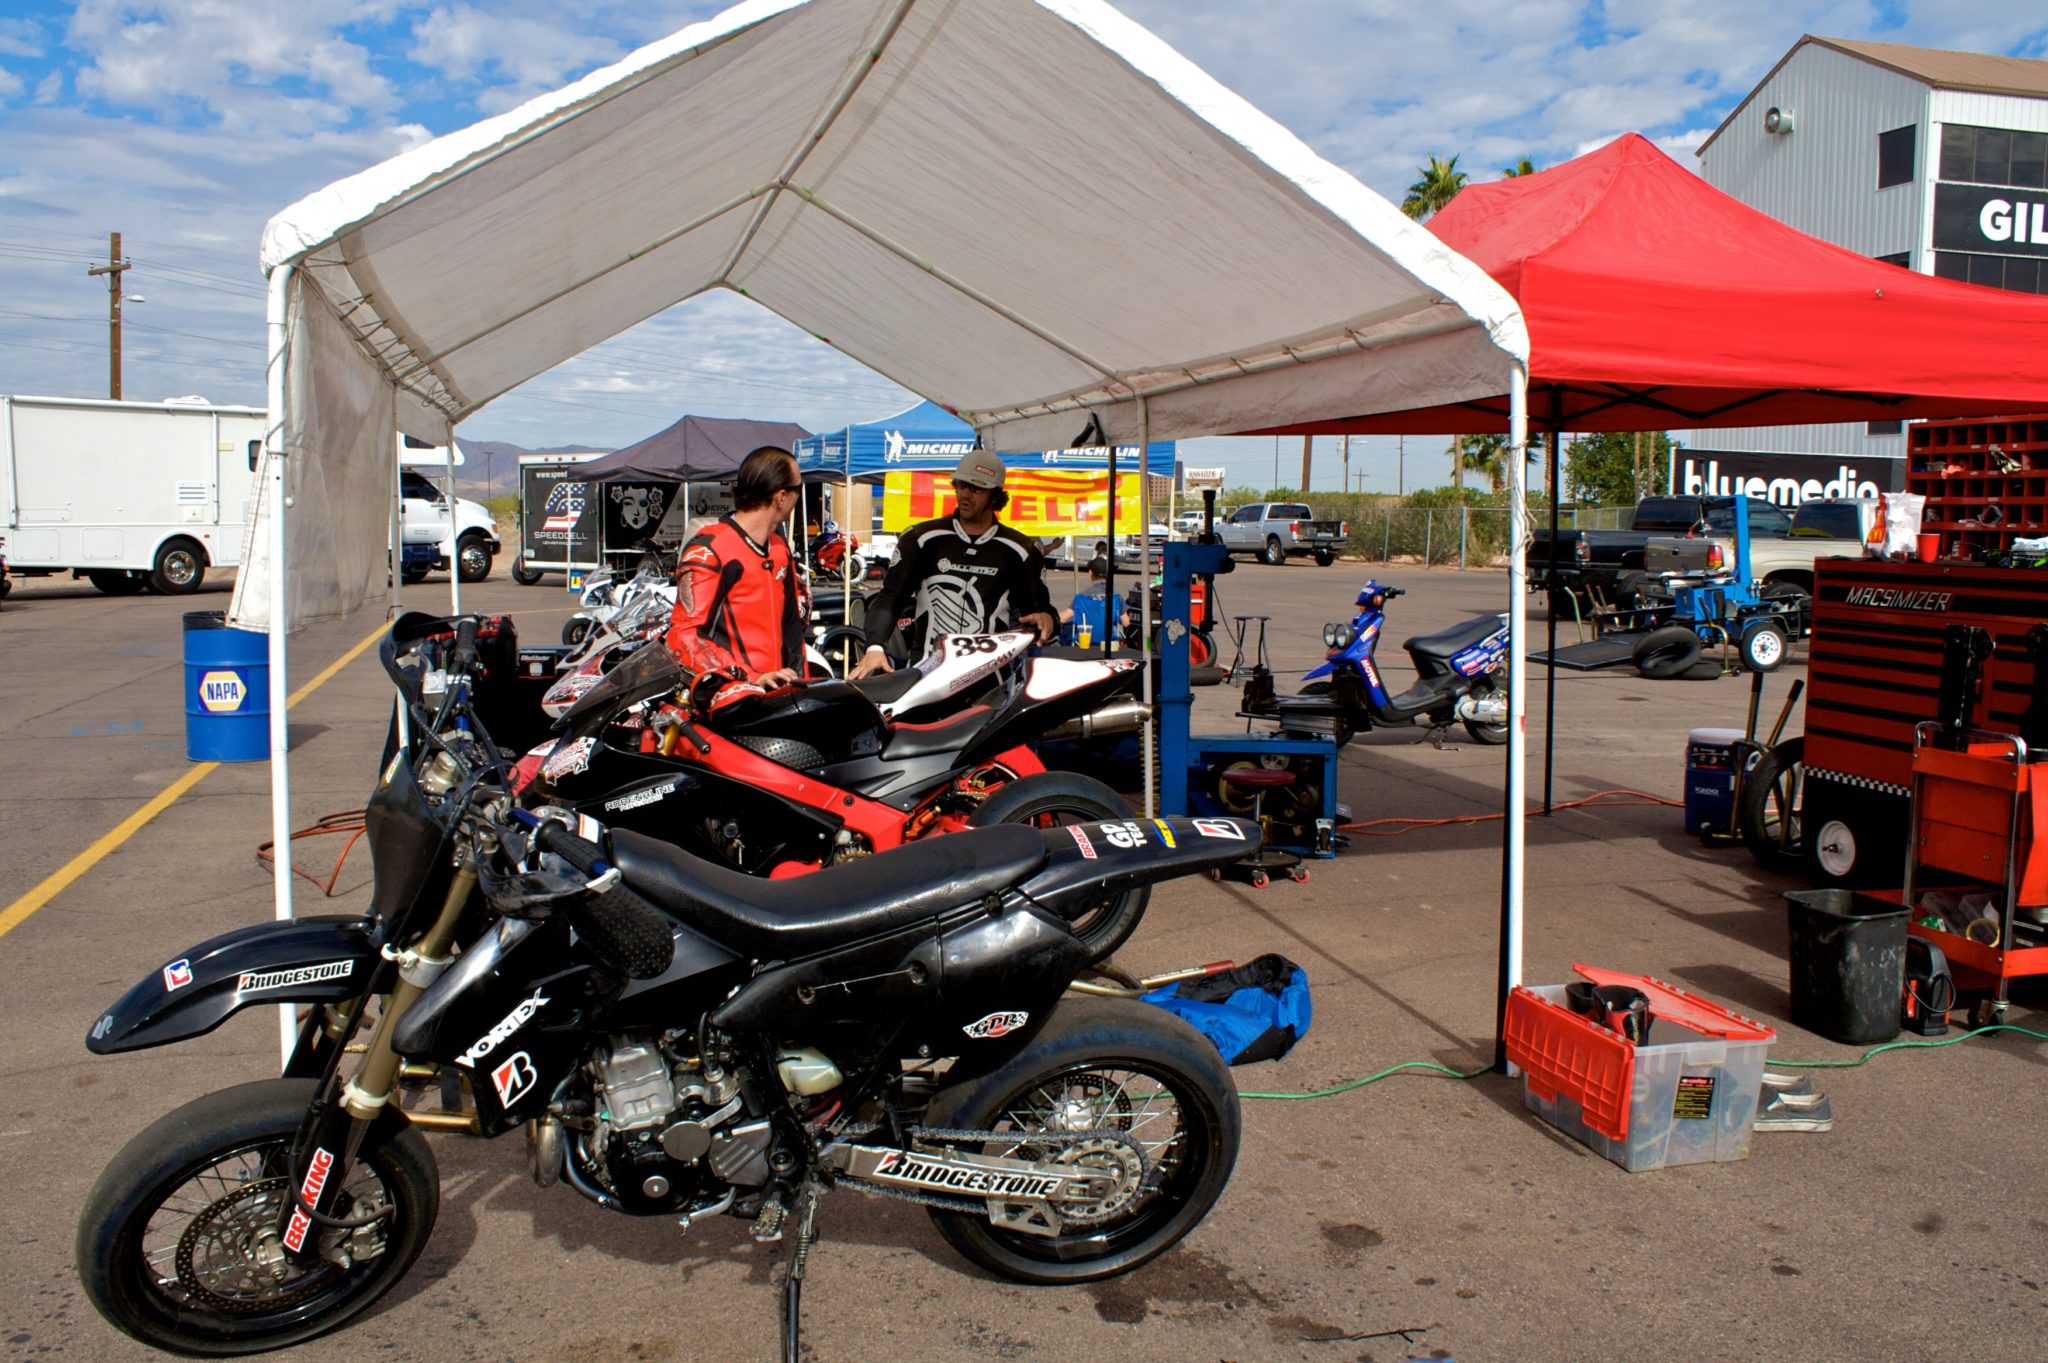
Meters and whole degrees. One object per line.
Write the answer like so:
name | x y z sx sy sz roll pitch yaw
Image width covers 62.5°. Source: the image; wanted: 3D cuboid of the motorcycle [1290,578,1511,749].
motorcycle | 3.132 -0.206 13.553 1.826 1.212 0.683 -4 7 -24

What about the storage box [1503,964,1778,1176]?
storage box | 2.531 1.541 6.996 0.695 0.516 0.844 -2 6 -15

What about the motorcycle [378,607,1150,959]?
motorcycle | -1.131 0.504 7.842 3.148 1.565 1.510 6 6 -16

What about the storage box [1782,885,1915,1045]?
storage box | 3.829 1.307 7.842 0.397 0.585 0.490 -5 7 -12

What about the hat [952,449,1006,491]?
hat | -0.273 -1.216 9.793 0.211 0.135 0.260 5 16 -46

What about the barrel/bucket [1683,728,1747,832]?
barrel/bucket | 4.302 0.643 10.500 0.310 0.657 0.505 1 7 20

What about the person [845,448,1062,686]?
person | -0.371 -0.579 9.851 1.194 1.515 0.918 4 3 -15

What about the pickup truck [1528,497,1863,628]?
pickup truck | 8.270 -1.455 20.646 4.299 1.800 2.403 -5 9 -10

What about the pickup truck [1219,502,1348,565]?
pickup truck | 6.702 -3.946 44.612 1.993 1.597 3.815 -2 6 -13

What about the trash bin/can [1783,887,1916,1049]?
trash bin/can | 3.839 1.284 8.043 0.587 0.836 0.750 1 0 -5

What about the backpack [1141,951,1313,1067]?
backpack | 0.793 1.253 6.541 0.531 0.414 0.205 -2 -7 -10
